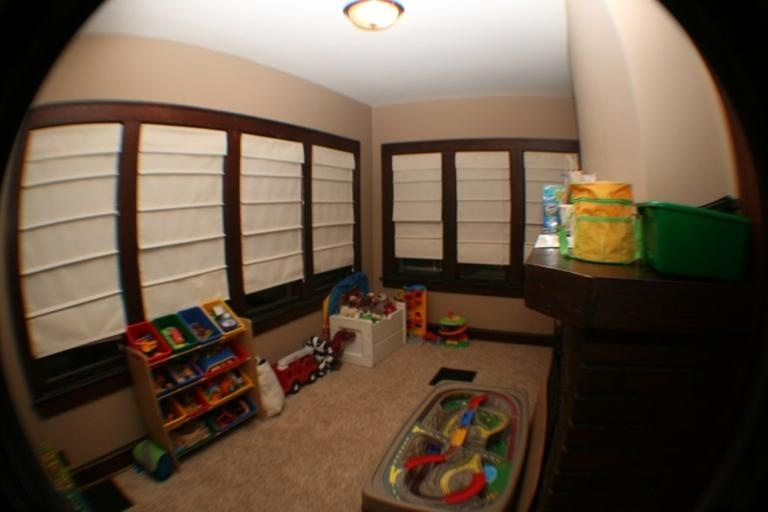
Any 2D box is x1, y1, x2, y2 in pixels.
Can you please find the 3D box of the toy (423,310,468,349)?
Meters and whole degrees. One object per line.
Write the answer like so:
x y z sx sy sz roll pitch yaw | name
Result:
0.387 0.450 3.181 0.194 0.119 0.240 -4 3 -33 | toy

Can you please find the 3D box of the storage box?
-0.077 0.399 2.992 0.277 0.229 0.437 2 6 26 | storage box

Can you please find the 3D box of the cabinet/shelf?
-0.782 0.530 2.044 0.199 0.446 0.444 -8 12 37 | cabinet/shelf

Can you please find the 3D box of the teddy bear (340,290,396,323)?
-0.105 0.304 3.056 0.208 0.064 0.212 4 14 23 | teddy bear

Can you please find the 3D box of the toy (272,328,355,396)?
-0.361 0.540 2.656 0.161 0.184 0.446 8 17 33 | toy
